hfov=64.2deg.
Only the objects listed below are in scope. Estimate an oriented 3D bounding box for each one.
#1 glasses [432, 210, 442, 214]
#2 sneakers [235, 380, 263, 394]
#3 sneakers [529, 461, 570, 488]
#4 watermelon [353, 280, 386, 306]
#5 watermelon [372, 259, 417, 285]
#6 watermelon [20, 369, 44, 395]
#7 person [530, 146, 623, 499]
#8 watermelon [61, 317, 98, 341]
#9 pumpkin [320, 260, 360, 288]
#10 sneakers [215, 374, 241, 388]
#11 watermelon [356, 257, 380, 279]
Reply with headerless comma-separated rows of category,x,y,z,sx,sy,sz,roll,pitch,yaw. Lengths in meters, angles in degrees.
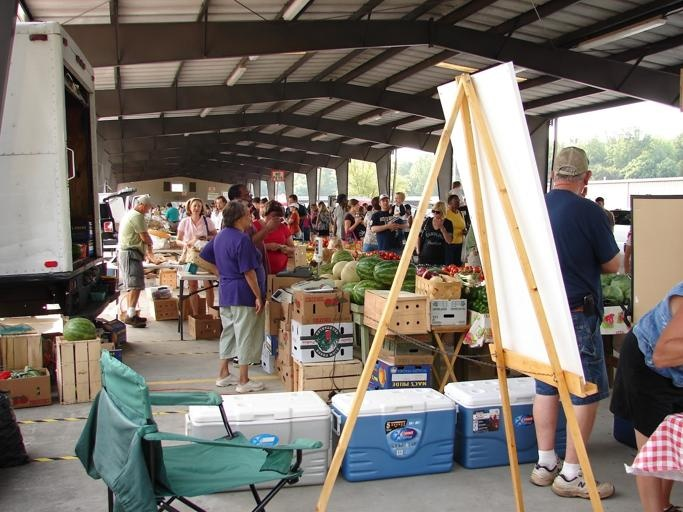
glasses,1.435,-0.674,8.191,0.123,0.040,0.117,8,-5,-42
sneakers,-0.894,1.279,5.402,0.261,0.110,0.100,-5,1,-25
sneakers,1.458,1.514,3.857,0.287,0.129,0.111,-7,7,-41
watermelon,0.278,0.355,5.355,0.291,0.175,0.188,-1,1,-14
watermelon,0.502,0.162,5.315,0.376,0.207,0.207,1,33,-28
watermelon,-2.851,1.180,5.097,0.207,0.129,0.203,1,1,-21
person,1.572,0.438,3.641,0.585,2.354,0.547,-1,4,6
watermelon,-2.528,0.699,5.313,0.287,0.218,0.265,-4,5,-26
pumpkin,0.002,0.199,6.136,0.258,0.210,0.555,-4,-4,-8
sneakers,-1.168,1.294,5.698,0.284,0.122,0.108,-6,5,-29
watermelon,0.267,0.110,5.562,0.236,0.183,0.182,-2,-9,12
